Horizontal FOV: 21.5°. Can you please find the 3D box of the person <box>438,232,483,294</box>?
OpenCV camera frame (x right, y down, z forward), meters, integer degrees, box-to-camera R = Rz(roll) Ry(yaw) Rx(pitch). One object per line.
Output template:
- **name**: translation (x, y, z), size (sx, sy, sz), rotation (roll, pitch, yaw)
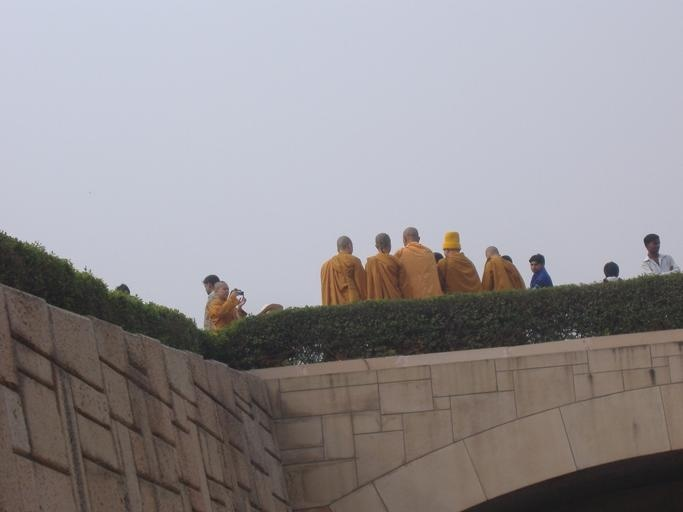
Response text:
- **person**: translation (1.438, 0.209, 22.491), size (0.487, 1.019, 0.555), rotation (7, -21, -22)
